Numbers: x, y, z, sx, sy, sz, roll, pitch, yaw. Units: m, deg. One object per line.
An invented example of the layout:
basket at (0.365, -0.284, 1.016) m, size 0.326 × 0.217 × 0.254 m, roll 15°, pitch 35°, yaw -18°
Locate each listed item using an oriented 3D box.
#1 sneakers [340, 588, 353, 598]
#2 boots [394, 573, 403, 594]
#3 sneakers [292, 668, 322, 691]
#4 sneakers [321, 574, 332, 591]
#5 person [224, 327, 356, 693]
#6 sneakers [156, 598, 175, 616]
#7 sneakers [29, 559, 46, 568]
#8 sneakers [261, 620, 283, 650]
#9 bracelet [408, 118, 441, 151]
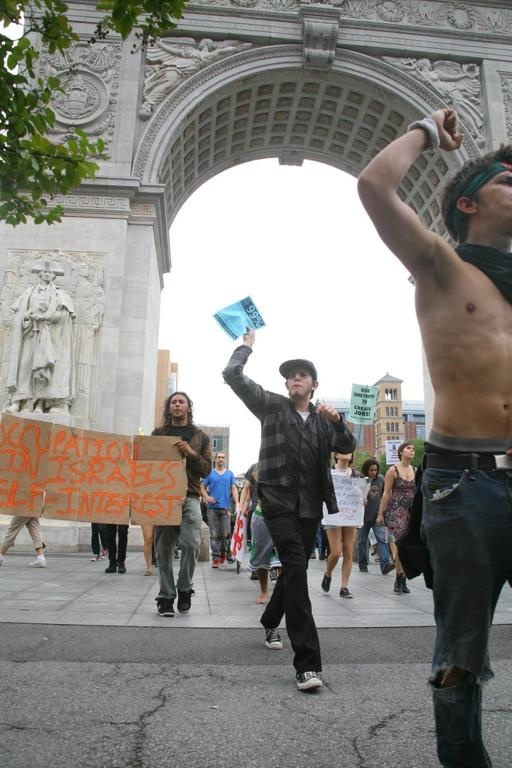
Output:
sneakers at (1.096, 2.560, 6.825) m, size 0.077 × 0.082 × 0.210 m, roll 1°, pitch -15°, yaw -4°
boots at (1.879, 2.639, 7.349) m, size 0.118 × 0.241 × 0.257 m, roll 3°, pitch -15°, yaw -5°
sneakers at (0.274, 1.529, 2.870) m, size 0.121 × 0.091 × 0.124 m, roll 2°, pitch -14°, yaw 2°
sneakers at (0.894, 2.562, 7.159) m, size 0.112 × 0.296 × 0.120 m, roll 1°, pitch -20°, yaw -2°
person at (0.253, 0.705, 3.687) m, size 0.821 × 2.096 × 0.971 m, roll -7°, pitch -17°, yaw 32°
sneakers at (-0.817, 2.025, 5.092) m, size 0.157 × 0.154 × 0.187 m, roll 4°, pitch -14°, yaw -8°
sneakers at (-3.353, 2.793, 8.675) m, size 0.236 × 0.154 × 0.109 m, roll 1°, pitch -2°, yaw 40°
sneakers at (0.123, 1.830, 4.022) m, size 0.093 × 0.161 × 0.270 m, roll 2°, pitch -22°, yaw -7°
bracelet at (0.558, -0.812, 1.810) m, size 0.048 × 0.106 × 0.106 m, roll -18°, pitch 25°, yaw 38°
